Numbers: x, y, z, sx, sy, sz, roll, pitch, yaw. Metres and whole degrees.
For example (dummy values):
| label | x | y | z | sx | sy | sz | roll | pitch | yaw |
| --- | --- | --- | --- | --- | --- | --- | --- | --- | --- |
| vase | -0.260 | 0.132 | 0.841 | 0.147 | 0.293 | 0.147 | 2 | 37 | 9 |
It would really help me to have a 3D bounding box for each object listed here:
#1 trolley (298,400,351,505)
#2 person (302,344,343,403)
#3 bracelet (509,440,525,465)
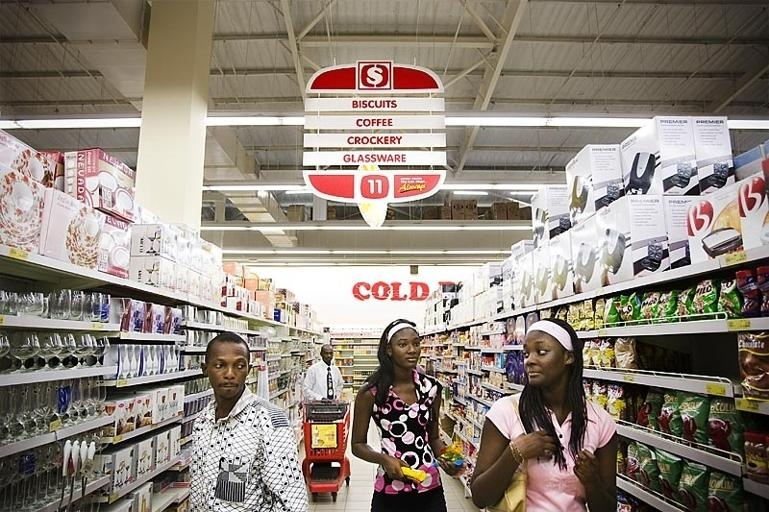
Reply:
| label | x | y | z | sx | sy | sz | roll | pitch | yaw |
| --- | --- | --- | --- | --- | --- | --- | --- | --- | --- |
| trolley | -0.916 | 2.921 | 7.468 | 0.712 | 1.266 | 1.243 | -1 | -7 | -6 |
| person | -1.040 | 2.179 | 8.515 | 0.757 | 1.142 | 0.522 | 5 | -8 | -37 |
| bracelet | 0.701 | 1.044 | 2.559 | 0.072 | 0.108 | 0.036 | 1 | -12 | -6 |
